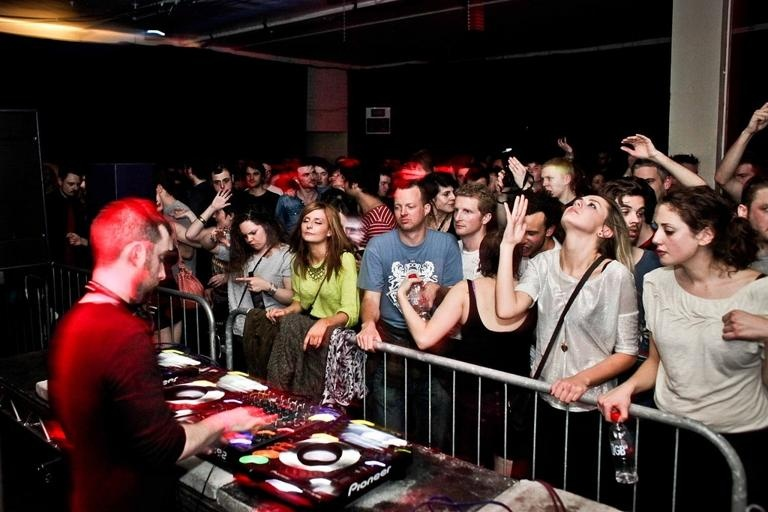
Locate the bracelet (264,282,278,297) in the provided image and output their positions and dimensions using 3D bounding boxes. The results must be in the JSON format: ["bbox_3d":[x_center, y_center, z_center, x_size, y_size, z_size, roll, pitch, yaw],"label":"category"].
[{"bbox_3d":[-0.907,0.274,4.385,0.094,0.089,0.115,13,-20,-4],"label":"bracelet"}]

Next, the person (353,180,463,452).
[{"bbox_3d":[0.197,0.688,4.140,0.933,2.289,0.787,-1,8,-11],"label":"person"}]

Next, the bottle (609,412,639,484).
[{"bbox_3d":[1.226,0.962,2.746,0.130,0.434,0.276,4,11,24],"label":"bottle"}]

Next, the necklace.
[{"bbox_3d":[1.176,0.301,3.227,0.113,0.666,0.075,11,27,-40],"label":"necklace"}]
